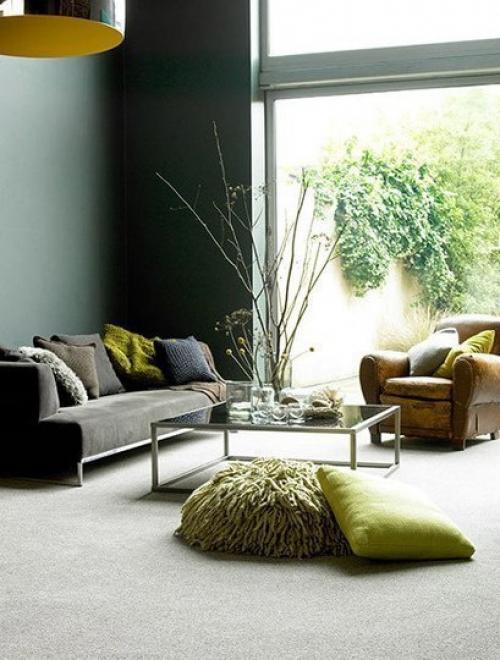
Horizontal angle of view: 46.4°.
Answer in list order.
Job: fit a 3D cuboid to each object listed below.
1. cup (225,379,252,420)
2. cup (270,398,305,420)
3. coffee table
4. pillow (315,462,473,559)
[{"bbox_3d":[-0.062,0.386,3.178,0.180,0.191,0.170,0,-1,0],"label":"cup"},{"bbox_3d":[0.191,0.417,3.009,0.169,0.106,0.073,-3,9,0],"label":"cup"},{"bbox_3d":[0.106,0.533,3.044,0.778,0.276,0.725,-1,1,19],"label":"coffee table"},{"bbox_3d":[0.478,0.628,2.049,0.389,0.179,0.466,-4,9,-10],"label":"pillow"}]
